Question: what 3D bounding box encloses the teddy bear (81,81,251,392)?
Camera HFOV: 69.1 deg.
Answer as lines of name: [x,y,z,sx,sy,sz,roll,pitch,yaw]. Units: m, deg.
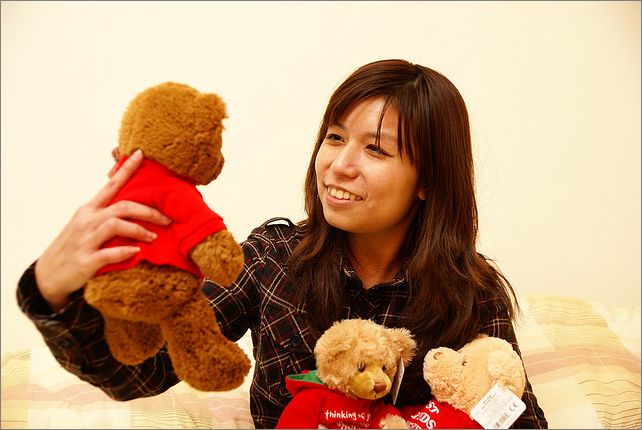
teddy bear: [-0.430,0.068,1.260,0.500,0.828,0.203,-15,-13,18]
